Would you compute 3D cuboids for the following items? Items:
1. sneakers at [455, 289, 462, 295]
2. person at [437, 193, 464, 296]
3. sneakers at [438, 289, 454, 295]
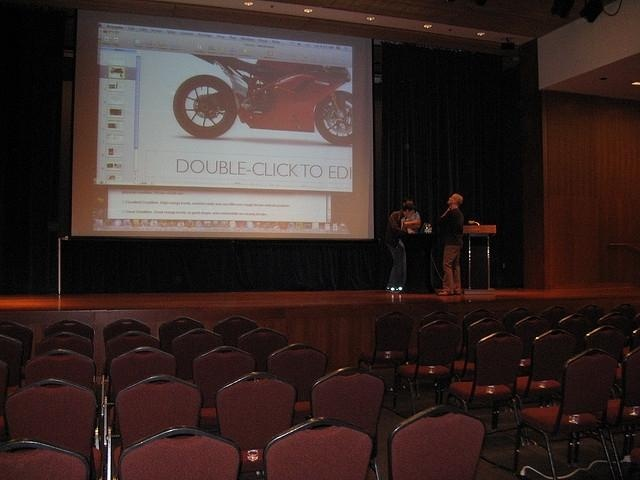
[{"bbox_3d":[2.431,0.869,10.034,0.151,0.115,0.082,1,-4,-40],"label":"sneakers"},{"bbox_3d":[2.291,-0.014,9.937,0.432,1.837,0.646,-2,-1,15],"label":"person"},{"bbox_3d":[2.171,0.854,9.850,0.310,0.150,0.119,4,-5,-31],"label":"sneakers"}]
